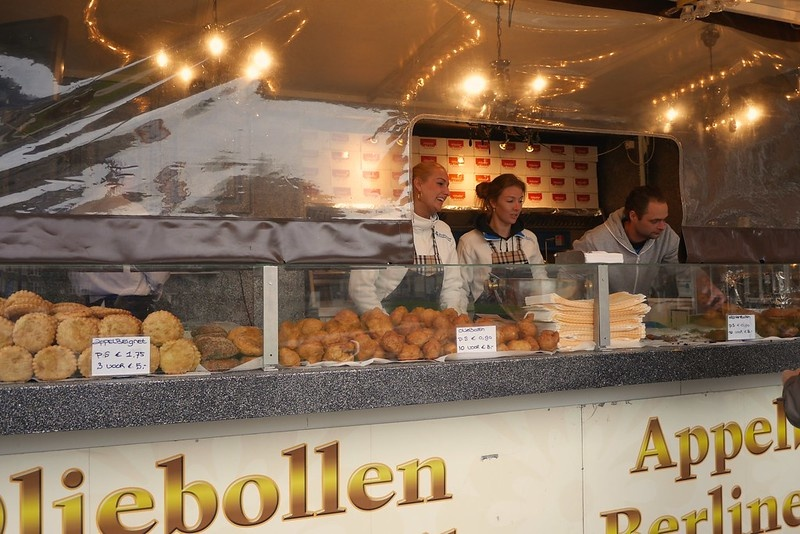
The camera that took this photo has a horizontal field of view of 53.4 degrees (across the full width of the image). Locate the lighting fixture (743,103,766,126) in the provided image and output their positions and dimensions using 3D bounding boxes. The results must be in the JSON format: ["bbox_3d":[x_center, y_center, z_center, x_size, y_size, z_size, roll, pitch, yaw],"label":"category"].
[{"bbox_3d":[2.151,-0.923,4.836,0.163,0.134,0.034,4,-7,-12],"label":"lighting fixture"}]

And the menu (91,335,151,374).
[{"bbox_3d":[-1.163,0.363,3.289,0.197,0.113,0.023,0,-7,-6],"label":"menu"}]

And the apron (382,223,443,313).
[{"bbox_3d":[0.078,0.009,3.578,0.301,0.356,0.265,10,0,-2],"label":"apron"}]

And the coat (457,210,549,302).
[{"bbox_3d":[0.612,-0.021,4.943,0.703,0.526,0.352,-1,10,-18],"label":"coat"}]

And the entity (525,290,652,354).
[{"bbox_3d":[0.899,0.214,3.686,0.395,0.141,0.365,-1,1,-25],"label":"entity"}]

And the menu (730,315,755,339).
[{"bbox_3d":[1.667,0.285,3.888,0.145,0.105,0.018,0,1,-16],"label":"menu"}]

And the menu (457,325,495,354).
[{"bbox_3d":[0.328,0.320,3.526,0.155,0.087,0.006,0,1,-6],"label":"menu"}]
